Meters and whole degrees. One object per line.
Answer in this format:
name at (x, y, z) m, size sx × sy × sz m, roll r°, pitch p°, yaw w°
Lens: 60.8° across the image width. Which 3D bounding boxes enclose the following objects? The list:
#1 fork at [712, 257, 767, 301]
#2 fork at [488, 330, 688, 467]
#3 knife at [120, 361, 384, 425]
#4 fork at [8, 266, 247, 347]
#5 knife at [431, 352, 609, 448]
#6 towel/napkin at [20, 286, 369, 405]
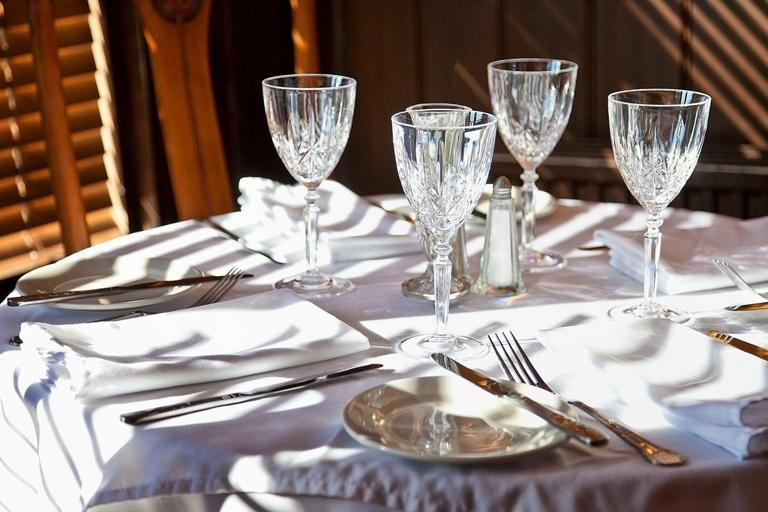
fork at (0.545, 0.039, 1.003) m, size 0.012 × 0.012 × 0.085 m, roll 13°, pitch 28°, yaw -34°
fork at (0.187, 0.123, 0.852) m, size 0.059 × 0.069 × 0.452 m, roll -7°, pitch 16°, yaw -23°
knife at (-0.163, 0.162, 0.762) m, size 0.238 × 0.013 × 0.032 m, roll -7°, pitch 4°, yaw -25°
fork at (-0.371, 0.076, 0.947) m, size 0.395 × 0.059 × 0.055 m, roll -4°, pitch 38°, yaw -30°
knife at (0.153, 0.164, 0.729) m, size 0.023 × 0.018 × 0.218 m, roll -21°, pitch 23°, yaw -20°
towel/napkin at (-0.239, 0.114, 0.842) m, size 0.241 × 0.045 × 0.201 m, roll -5°, pitch 12°, yaw -28°
